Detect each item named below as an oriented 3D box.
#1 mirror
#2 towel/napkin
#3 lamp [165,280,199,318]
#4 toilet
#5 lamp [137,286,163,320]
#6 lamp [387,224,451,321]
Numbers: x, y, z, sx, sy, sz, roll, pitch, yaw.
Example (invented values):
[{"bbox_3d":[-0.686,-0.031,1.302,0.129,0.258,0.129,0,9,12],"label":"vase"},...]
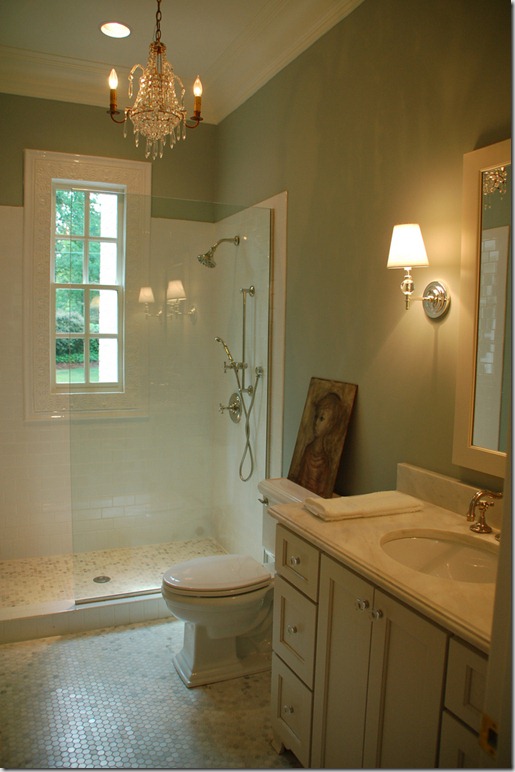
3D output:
[{"bbox_3d":[0.593,-0.191,1.537,0.045,0.843,0.179,-1,2,-25],"label":"mirror"},{"bbox_3d":[0.306,0.330,1.636,0.326,0.037,0.170,0,2,-17],"label":"towel/napkin"},{"bbox_3d":[-0.369,-0.416,2.735,0.094,0.172,0.149,-1,0,36],"label":"lamp"},{"bbox_3d":[-0.080,0.722,2.227,0.520,0.717,0.371,-3,13,-26],"label":"toilet"},{"bbox_3d":[-0.496,-0.380,2.690,0.120,0.217,0.083,-1,1,-45],"label":"lamp"},{"bbox_3d":[0.473,-0.329,1.733,0.150,0.300,0.115,-9,13,-13],"label":"lamp"}]
